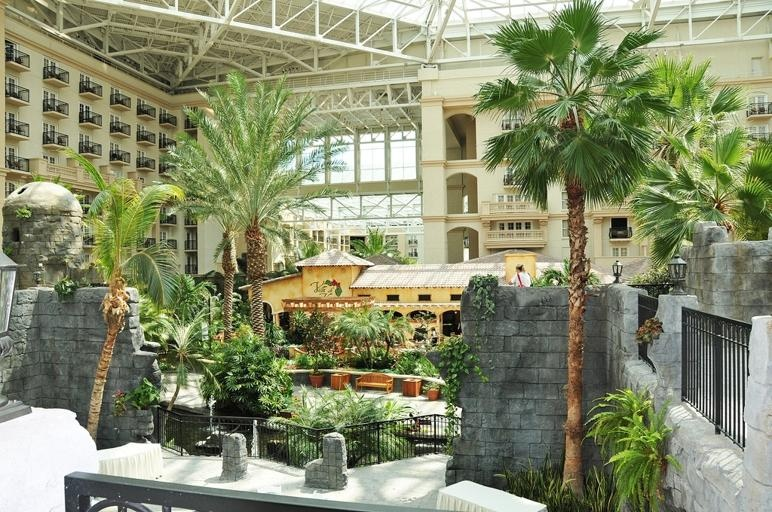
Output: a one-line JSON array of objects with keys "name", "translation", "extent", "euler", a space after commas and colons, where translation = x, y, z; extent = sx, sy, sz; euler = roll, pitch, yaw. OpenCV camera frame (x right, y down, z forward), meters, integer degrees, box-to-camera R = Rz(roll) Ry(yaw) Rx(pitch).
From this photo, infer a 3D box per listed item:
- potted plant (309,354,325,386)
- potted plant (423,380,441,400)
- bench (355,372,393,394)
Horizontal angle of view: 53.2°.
[{"name": "potted plant", "translation": [-3.134, 5.037, 34.622], "extent": [0.738, 1.596, 0.806], "euler": [0, -6, -11]}, {"name": "potted plant", "translation": [1.906, 5.558, 31.990], "extent": [0.611, 0.763, 0.682], "euler": [-3, 4, -42]}, {"name": "bench", "translation": [-0.491, 5.492, 33.355], "extent": [1.608, 0.739, 0.769], "euler": [-1, -3, 27]}]
